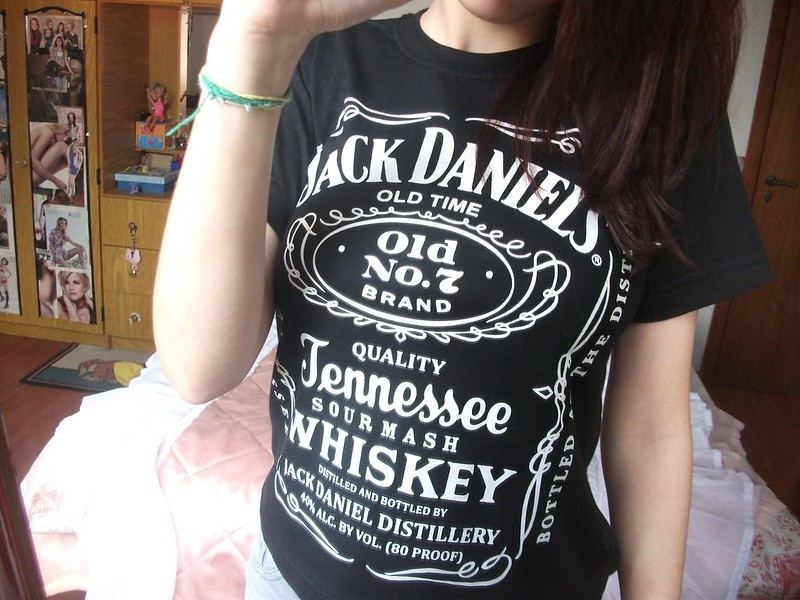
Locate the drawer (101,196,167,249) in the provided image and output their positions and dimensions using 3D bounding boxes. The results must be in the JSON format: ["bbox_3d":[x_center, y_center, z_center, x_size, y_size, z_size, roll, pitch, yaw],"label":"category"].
[{"bbox_3d":[-1.232,-0.369,3.159,0.304,0.177,0.239,5,100,3],"label":"drawer"}]
